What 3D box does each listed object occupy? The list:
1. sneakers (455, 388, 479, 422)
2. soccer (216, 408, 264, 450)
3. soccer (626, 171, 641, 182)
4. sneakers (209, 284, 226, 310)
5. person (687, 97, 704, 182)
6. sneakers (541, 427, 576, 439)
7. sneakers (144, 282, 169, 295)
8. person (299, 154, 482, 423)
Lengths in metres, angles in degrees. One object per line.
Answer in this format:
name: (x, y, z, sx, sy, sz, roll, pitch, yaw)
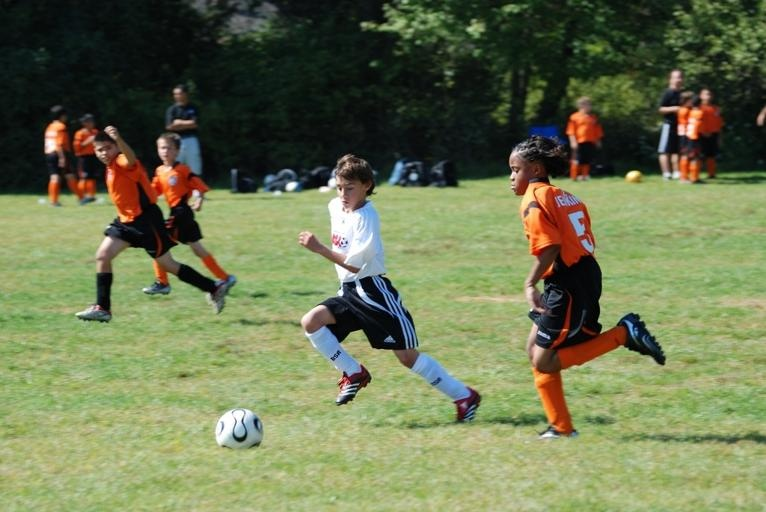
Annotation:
sneakers: (0.894, 1.596, 11.190, 0.288, 0.402, 0.159, 8, 29, -5)
soccer: (-1.506, 1.793, 10.868, 0.394, 0.267, 0.339, 19, 38, 27)
soccer: (5.368, -1.702, 22.803, 0.404, 0.139, 0.335, 3, 19, 23)
sneakers: (-2.156, 0.543, 13.634, 0.261, 0.345, 0.147, -8, 30, 3)
person: (6.262, -2.317, 21.047, 0.328, 1.693, 0.610, 1, 5, 15)
sneakers: (1.786, 1.827, 10.954, 0.461, 0.117, 0.121, -3, 1, 4)
sneakers: (-3.194, 0.445, 14.385, 0.502, 0.153, 0.138, 2, -1, -1)
person: (-0.063, 0.334, 11.199, 1.646, 2.801, 0.414, -1, 5, -4)
